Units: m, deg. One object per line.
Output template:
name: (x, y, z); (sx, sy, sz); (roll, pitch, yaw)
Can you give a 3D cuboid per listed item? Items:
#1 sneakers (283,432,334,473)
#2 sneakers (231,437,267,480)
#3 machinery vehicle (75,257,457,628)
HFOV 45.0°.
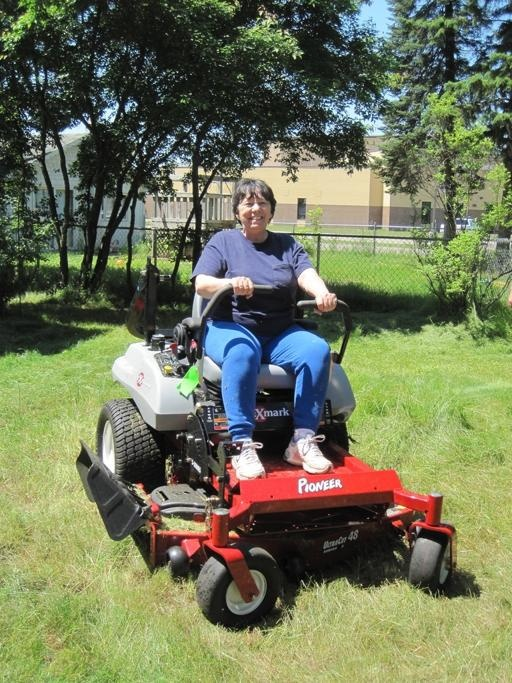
sneakers: (0.222, 0.481, 2.642); (0.094, 0.109, 0.238); (1, -1, -25)
sneakers: (-0.028, 0.471, 2.417); (0.126, 0.162, 0.266); (0, 8, -3)
machinery vehicle: (-0.041, 0.353, 3.152); (1.553, 1.210, 2.145); (-1, 8, -22)
